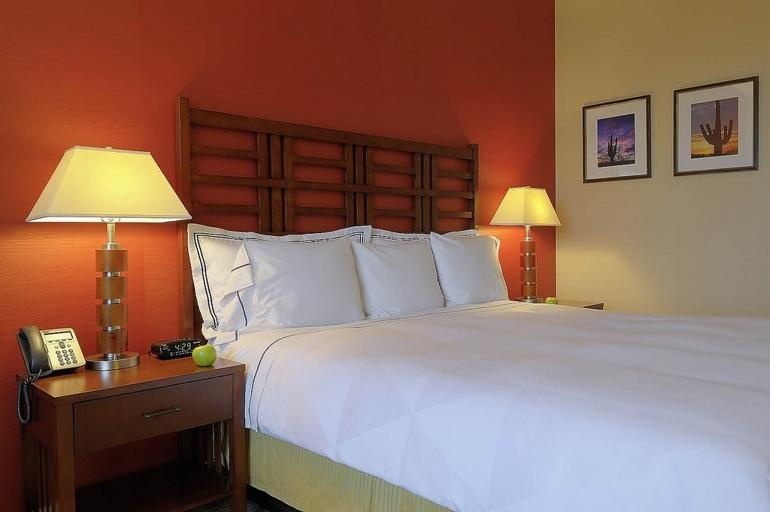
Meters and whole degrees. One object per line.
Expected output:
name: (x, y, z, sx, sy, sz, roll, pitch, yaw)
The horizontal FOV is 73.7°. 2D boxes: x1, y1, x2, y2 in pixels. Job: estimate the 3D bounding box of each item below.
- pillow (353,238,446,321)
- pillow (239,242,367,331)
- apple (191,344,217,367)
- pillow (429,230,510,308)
pillow: (0.104, 0.114, 3.082, 0.521, 0.488, 0.153, 2, -15, -34)
pillow: (-0.446, 0.154, 2.753, 0.531, 0.490, 0.155, 3, -12, -31)
apple: (-0.858, 0.460, 2.381, 0.097, 0.094, 0.098, 1, 1, -12)
pillow: (0.555, 0.088, 3.497, 0.543, 0.510, 0.149, 1, -18, -33)
